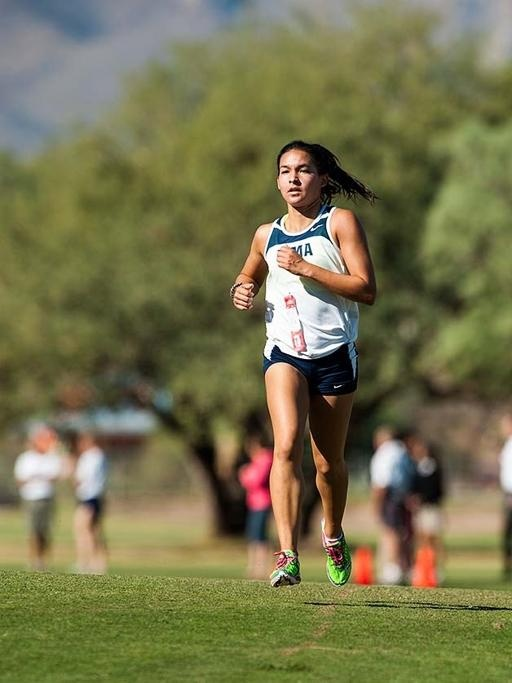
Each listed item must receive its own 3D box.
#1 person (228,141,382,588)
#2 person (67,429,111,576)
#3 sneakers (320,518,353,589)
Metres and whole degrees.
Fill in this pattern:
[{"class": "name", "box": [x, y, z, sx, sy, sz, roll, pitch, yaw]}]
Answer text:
[{"class": "person", "box": [0.170, 0.085, 3.805, 0.582, 1.843, 0.710, 2, -7, 3]}, {"class": "person", "box": [-0.966, 0.932, 5.495, 0.304, 0.796, 0.140, -3, -9, 39]}, {"class": "sneakers", "box": [0.366, 0.940, 4.135, 0.142, 0.310, 0.140, -8, 16, 5]}]
